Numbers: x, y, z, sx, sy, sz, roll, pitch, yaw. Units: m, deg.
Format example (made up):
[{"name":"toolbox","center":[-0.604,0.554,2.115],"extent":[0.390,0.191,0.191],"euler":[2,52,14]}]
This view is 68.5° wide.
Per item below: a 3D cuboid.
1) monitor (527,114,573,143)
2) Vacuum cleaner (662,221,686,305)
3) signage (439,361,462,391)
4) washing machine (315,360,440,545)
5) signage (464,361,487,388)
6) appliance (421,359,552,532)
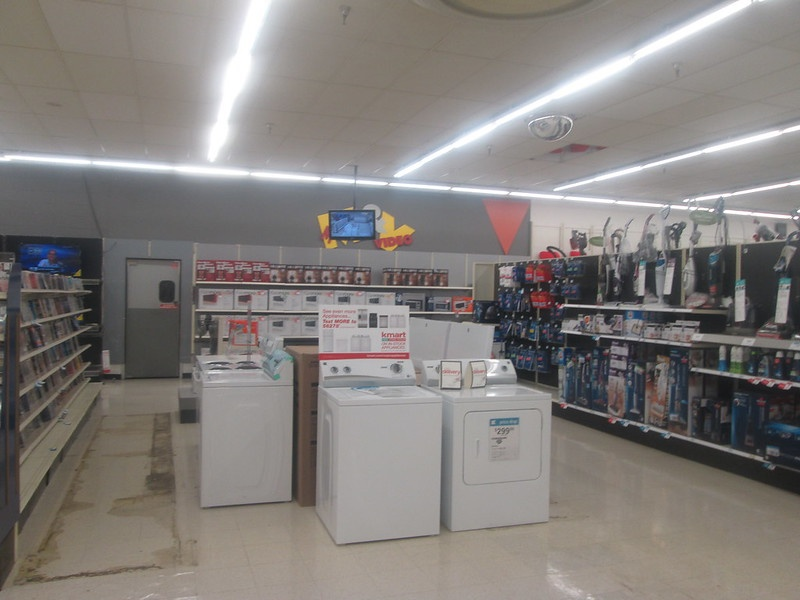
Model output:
[{"name":"monitor","center":[1.957,-2.255,7.677],"extent":[0.417,0.101,0.436],"euler":[0,-4,-2]},{"name":"Vacuum cleaner","center":[3.316,-0.442,7.247],"extent":[0.298,1.000,0.309],"euler":[13,14,42]},{"name":"signage","center":[0.425,0.645,5.020],"extent":[0.235,0.266,0.043],"euler":[3,-8,-16]},{"name":"washing machine","center":[-0.247,1.256,4.952],"extent":[0.846,1.174,0.933],"euler":[1,0,-18]},{"name":"signage","center":[0.642,0.645,5.093],"extent":[0.233,0.260,0.092],"euler":[2,1,-35]},{"name":"appliance","center":[0.723,1.162,5.344],"extent":[1.062,1.394,1.002],"euler":[1,-1,-20]}]
